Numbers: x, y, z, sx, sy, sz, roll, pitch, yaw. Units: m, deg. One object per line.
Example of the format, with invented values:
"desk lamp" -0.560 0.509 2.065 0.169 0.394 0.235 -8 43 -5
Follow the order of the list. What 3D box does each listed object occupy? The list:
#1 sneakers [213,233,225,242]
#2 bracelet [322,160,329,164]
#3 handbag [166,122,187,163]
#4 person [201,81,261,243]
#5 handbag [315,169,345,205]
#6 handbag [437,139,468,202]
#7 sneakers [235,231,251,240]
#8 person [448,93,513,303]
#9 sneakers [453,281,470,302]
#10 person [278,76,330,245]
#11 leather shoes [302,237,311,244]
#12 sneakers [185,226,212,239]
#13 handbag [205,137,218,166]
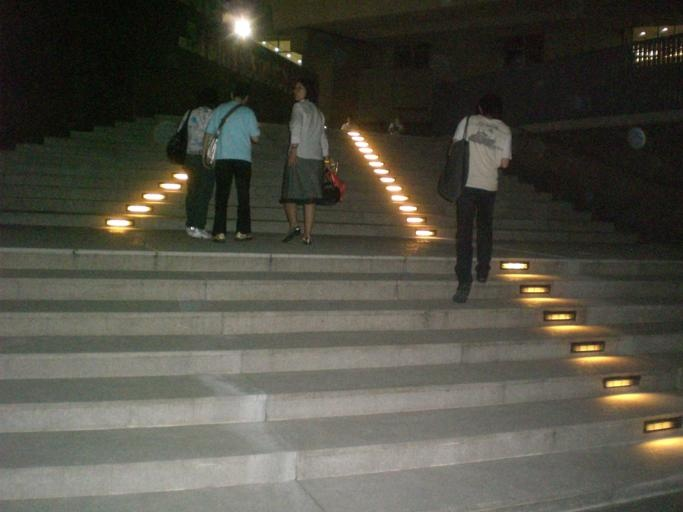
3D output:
"sneakers" -1.482 -0.206 7.235 0.144 0.100 0.060 3 14 -2
"bracelet" -0.216 -1.198 7.749 0.075 0.035 0.104 2 5 14
"handbag" -2.068 -1.395 7.611 0.244 0.501 0.244 0 14 -11
"person" -1.350 -1.120 7.382 0.678 1.899 0.568 -8 18 -38
"handbag" -0.137 -0.875 7.821 0.352 0.431 0.184 7 -12 -15
"handbag" 1.192 -0.895 6.445 0.306 0.655 0.227 7 14 18
"sneakers" -1.237 -0.241 7.635 0.080 0.089 0.244 13 16 43
"person" 1.402 -0.618 6.461 0.525 2.150 0.855 10 15 27
"sneakers" 1.257 0.394 6.331 0.136 0.232 0.096 15 -3 3
"person" -0.474 -1.147 7.630 0.595 2.051 0.851 2 14 -5
"leather shoes" -0.446 -0.179 7.563 0.099 0.096 0.269 -1 0 -4
"sneakers" -1.813 -0.272 7.630 0.354 0.142 0.134 8 7 -19
"handbag" -1.581 -1.250 7.309 0.149 0.339 0.049 3 14 0
